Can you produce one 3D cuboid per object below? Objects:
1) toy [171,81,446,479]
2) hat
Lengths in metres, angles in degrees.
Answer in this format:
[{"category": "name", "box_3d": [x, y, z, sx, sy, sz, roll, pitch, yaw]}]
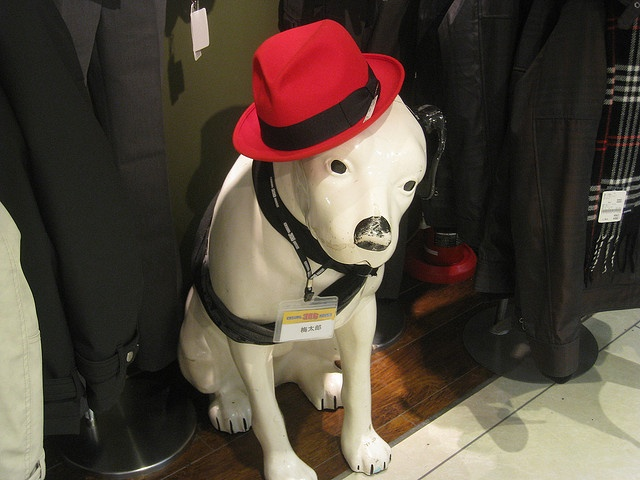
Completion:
[{"category": "toy", "box_3d": [-0.073, 0.134, 1.501, 0.643, 0.990, 0.417, 24, 39, 38]}, {"category": "hat", "box_3d": [-0.003, -0.276, 1.208, 0.330, 0.134, 0.311, 13, 65, 37]}]
